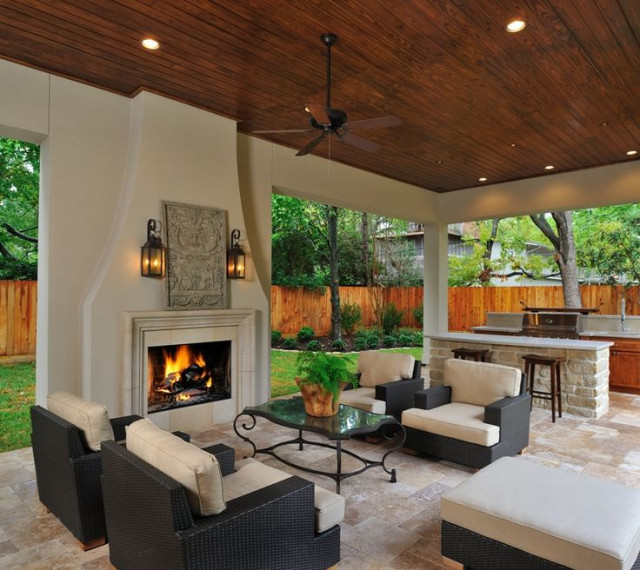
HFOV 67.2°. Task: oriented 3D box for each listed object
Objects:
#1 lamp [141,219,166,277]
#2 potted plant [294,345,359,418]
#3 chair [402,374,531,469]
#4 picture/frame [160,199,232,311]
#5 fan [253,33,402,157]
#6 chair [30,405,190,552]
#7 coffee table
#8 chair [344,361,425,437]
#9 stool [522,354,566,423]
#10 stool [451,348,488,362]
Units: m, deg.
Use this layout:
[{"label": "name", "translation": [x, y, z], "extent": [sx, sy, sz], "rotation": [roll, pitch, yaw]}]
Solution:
[{"label": "lamp", "translation": [-1.808, -0.397, 5.237], "extent": [0.270, 0.647, 0.264], "rotation": [0, -2, -34]}, {"label": "potted plant", "translation": [0.017, 0.909, 4.490], "extent": [0.672, 0.493, 0.578], "rotation": [3, -7, -18]}, {"label": "chair", "translation": [1.528, 1.300, 4.778], "extent": [1.091, 0.651, 1.001], "rotation": [3, -4, -42]}, {"label": "picture/frame", "translation": [-1.450, -0.330, 5.622], "extent": [0.836, 1.218, 0.050], "rotation": [0, -2, -45]}, {"label": "fan", "translation": [0.130, -1.810, 4.623], "extent": [1.446, 0.790, 1.244], "rotation": [2, -4, -12]}, {"label": "chair", "translation": [-1.517, 1.301, 3.627], "extent": [0.926, 0.694, 0.983], "rotation": [0, -2, 43]}, {"label": "coffee table", "translation": [-0.025, 1.352, 4.168], "extent": [1.258, 0.386, 0.805], "rotation": [-1, -3, 41]}, {"label": "chair", "translation": [0.810, 1.305, 5.295], "extent": [0.729, 0.725, 0.786], "rotation": [10, -14, -40]}, {"label": "stool", "translation": [2.914, 1.284, 6.268], "extent": [0.470, 0.797, 0.900], "rotation": [-2, -2, 21]}, {"label": "stool", "translation": [2.105, 0.967, 6.858], "extent": [0.310, 0.333, 0.323], "rotation": [-3, -4, 42]}]
